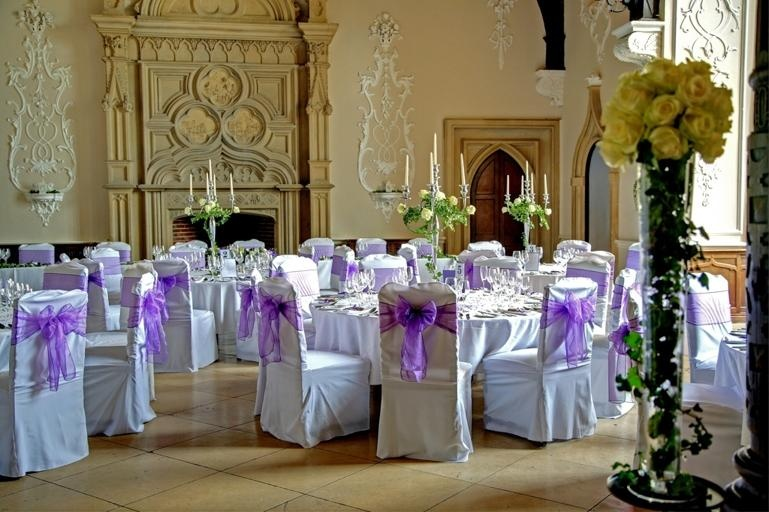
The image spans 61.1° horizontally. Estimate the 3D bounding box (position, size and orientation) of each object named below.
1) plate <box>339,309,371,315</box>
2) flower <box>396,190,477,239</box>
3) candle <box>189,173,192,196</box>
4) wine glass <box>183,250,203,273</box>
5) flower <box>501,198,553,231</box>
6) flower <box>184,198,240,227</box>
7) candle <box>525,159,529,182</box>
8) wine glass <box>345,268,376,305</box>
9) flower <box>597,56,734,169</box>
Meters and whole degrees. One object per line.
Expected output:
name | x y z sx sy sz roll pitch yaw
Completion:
plate | -0.237 0.468 5.349 0.238 0.030 0.171 -1 1 1
flower | 0.630 -0.538 8.453 0.977 0.880 1.025 0 0 -9
candle | -3.103 -1.176 10.421 0.052 0.312 0.232 -1 1 -17
wine glass | -2.521 0.067 8.554 0.266 0.335 0.274 -2 3 -20
flower | 2.084 -0.596 9.456 0.643 0.410 0.655 6 6 -25
flower | -2.499 -0.645 9.318 0.543 0.363 0.593 -2 1 4
candle | 2.529 -1.513 11.420 0.067 0.315 0.163 0 1 11
wine glass | -0.180 0.266 5.841 0.241 0.435 0.286 4 8 27
flower | 1.218 -0.537 2.932 0.490 0.493 0.531 -7 1 14
